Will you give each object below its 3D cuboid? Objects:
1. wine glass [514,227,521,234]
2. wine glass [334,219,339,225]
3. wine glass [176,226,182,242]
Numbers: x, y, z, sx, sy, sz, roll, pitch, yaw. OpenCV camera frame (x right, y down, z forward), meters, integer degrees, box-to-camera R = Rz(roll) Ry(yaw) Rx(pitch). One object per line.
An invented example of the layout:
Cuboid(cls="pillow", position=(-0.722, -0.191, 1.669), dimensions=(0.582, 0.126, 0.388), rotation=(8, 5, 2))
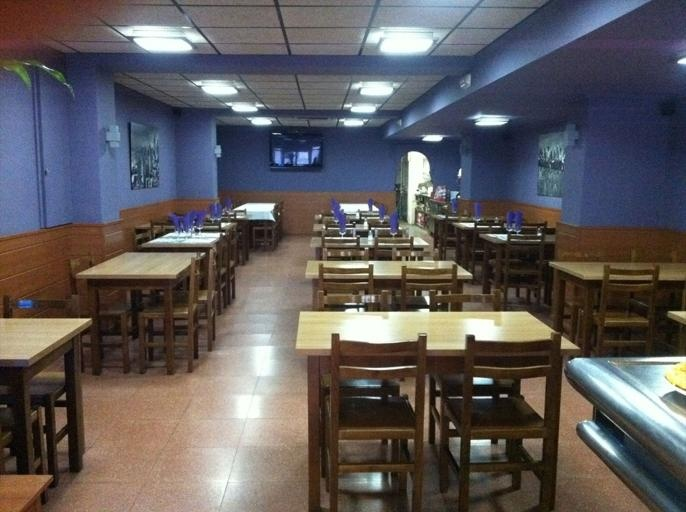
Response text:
Cuboid(cls="wine glass", position=(2.501, -0.372, 7.796), dimensions=(0.092, 0.091, 0.167), rotation=(4, 1, 14))
Cuboid(cls="wine glass", position=(-0.105, -0.550, 8.530), dimensions=(0.075, 0.103, 0.081), rotation=(-4, 10, -21))
Cuboid(cls="wine glass", position=(-2.076, -0.284, 6.865), dimensions=(0.082, 0.211, 0.125), rotation=(-1, -8, 1))
